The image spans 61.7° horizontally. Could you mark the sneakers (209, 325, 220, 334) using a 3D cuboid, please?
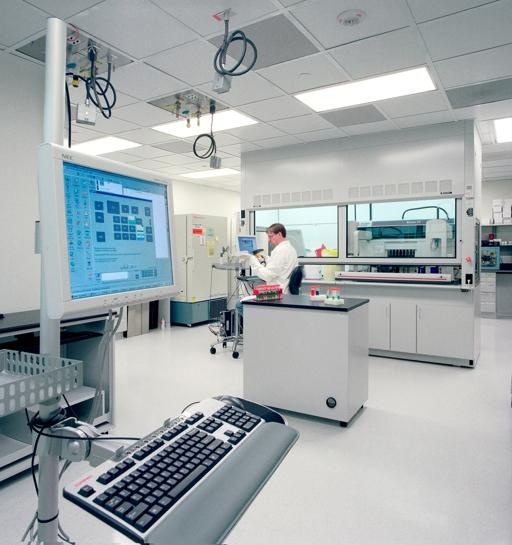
[{"bbox_3d":[-0.574,0.792,5.993,0.137,0.060,0.150,0,13,4],"label":"sneakers"}]

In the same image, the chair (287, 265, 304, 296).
[{"bbox_3d":[0.339,0.075,3.721,0.137,0.247,0.379,0,3,6],"label":"chair"}]

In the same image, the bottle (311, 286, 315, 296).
[{"bbox_3d":[0.402,0.139,3.023,0.043,0.047,0.081,-3,-22,3],"label":"bottle"}]

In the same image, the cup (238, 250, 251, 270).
[{"bbox_3d":[-0.129,-0.128,4.519,0.107,0.225,0.155,-4,10,-26],"label":"cup"}]

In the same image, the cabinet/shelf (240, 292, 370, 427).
[{"bbox_3d":[0.338,0.564,3.066,0.761,0.812,0.464,3,14,27],"label":"cabinet/shelf"}]
